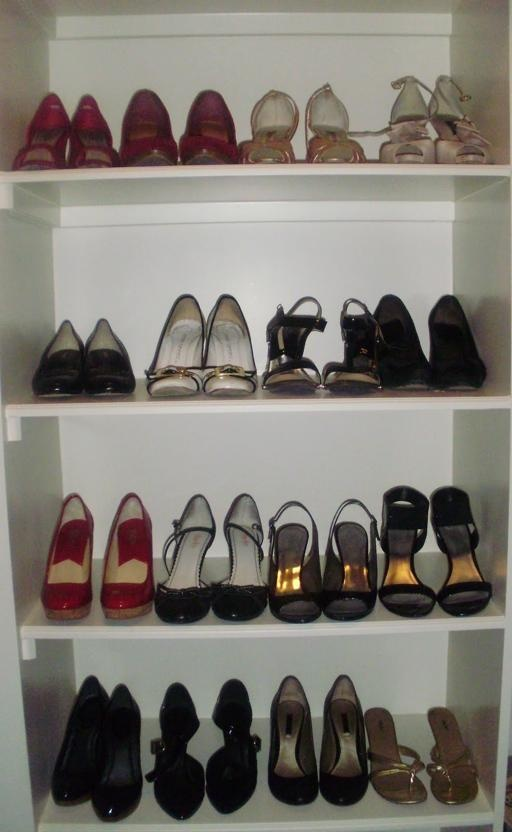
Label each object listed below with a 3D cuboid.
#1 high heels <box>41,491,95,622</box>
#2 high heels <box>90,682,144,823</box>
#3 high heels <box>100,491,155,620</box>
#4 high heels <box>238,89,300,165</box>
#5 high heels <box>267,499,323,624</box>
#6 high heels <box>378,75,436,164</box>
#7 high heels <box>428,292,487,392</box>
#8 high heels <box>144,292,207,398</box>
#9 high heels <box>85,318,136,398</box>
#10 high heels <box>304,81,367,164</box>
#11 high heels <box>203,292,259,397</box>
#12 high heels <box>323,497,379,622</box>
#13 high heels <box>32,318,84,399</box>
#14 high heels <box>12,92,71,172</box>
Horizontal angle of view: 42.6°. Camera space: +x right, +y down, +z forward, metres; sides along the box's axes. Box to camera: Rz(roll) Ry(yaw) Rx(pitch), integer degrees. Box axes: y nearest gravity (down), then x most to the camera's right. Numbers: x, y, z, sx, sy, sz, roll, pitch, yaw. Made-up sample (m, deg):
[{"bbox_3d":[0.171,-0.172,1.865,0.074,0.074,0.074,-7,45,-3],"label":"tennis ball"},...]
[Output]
[{"bbox_3d":[-0.402,0.300,1.467,0.081,0.110,0.295,2,44,-9],"label":"high heels"},{"bbox_3d":[-0.305,0.760,1.448,0.101,0.159,0.199,-1,4,-13],"label":"high heels"},{"bbox_3d":[-0.277,0.307,1.467,0.081,0.106,0.278,0,41,-3],"label":"high heels"},{"bbox_3d":[0.036,-0.612,1.401,0.081,0.270,0.090,0,-26,10],"label":"high heels"},{"bbox_3d":[0.090,0.316,1.462,0.081,0.101,0.270,-2,33,2],"label":"high heels"},{"bbox_3d":[0.284,-0.631,1.400,0.086,0.170,0.290,-1,26,6],"label":"high heels"},{"bbox_3d":[0.432,-0.150,1.428,0.088,0.254,0.090,-18,-35,33],"label":"high heels"},{"bbox_3d":[-0.171,-0.147,1.453,0.090,0.103,0.292,1,51,3],"label":"high heels"},{"bbox_3d":[-0.318,-0.129,1.425,0.101,0.166,0.169,-1,4,-16],"label":"high heels"},{"bbox_3d":[0.170,-0.621,1.383,0.088,0.274,0.095,-5,-29,4],"label":"high heels"},{"bbox_3d":[-0.064,-0.149,1.431,0.082,0.270,0.095,0,-37,-1],"label":"high heels"},{"bbox_3d":[0.211,0.307,1.466,0.093,0.096,0.279,0,35,8],"label":"high heels"},{"bbox_3d":[-0.418,-0.127,1.417,0.103,0.167,0.186,0,4,-7],"label":"high heels"},{"bbox_3d":[-0.434,-0.595,1.352,0.070,0.241,0.066,4,-10,-12],"label":"high heels"}]
